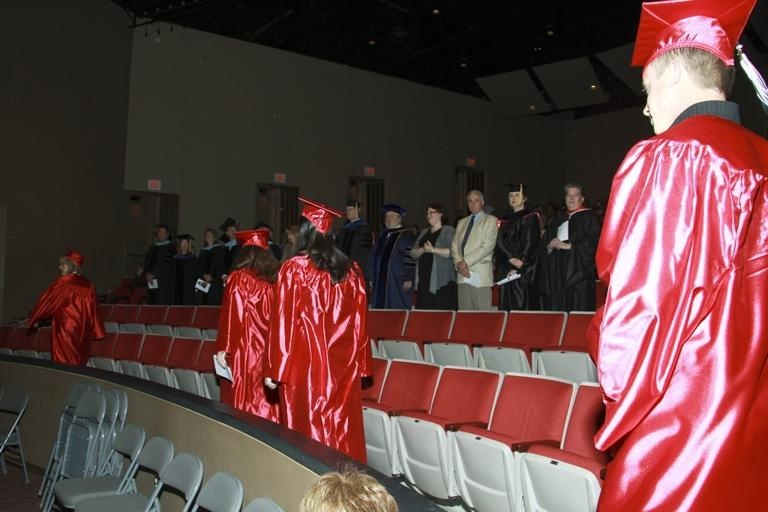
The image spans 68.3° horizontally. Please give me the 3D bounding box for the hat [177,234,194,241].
[{"bbox_3d":[-4.002,-0.388,11.325,0.234,0.076,0.230,1,3,-39],"label":"hat"}]

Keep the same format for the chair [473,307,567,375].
[{"bbox_3d":[1.265,0.780,5.316,0.634,0.785,0.536,14,-14,-43],"label":"chair"}]

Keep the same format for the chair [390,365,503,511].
[{"bbox_3d":[0.414,1.210,3.946,0.709,1.122,0.733,15,-13,-35],"label":"chair"}]

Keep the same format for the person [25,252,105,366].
[{"bbox_3d":[-3.905,0.685,7.053,0.790,1.461,0.409,2,-1,-33],"label":"person"}]

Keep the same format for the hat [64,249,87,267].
[{"bbox_3d":[-4.701,0.011,8.630,0.234,0.126,0.251,23,-13,23],"label":"hat"}]

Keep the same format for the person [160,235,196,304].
[{"bbox_3d":[-4.181,0.281,11.555,0.456,1.334,0.980,2,-1,-39],"label":"person"}]

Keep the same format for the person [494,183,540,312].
[{"bbox_3d":[1.620,-0.140,7.107,0.546,1.616,0.650,2,-1,-35],"label":"person"}]

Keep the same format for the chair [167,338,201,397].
[{"bbox_3d":[-2.017,1.144,5.760,0.340,0.515,0.344,-2,-7,17],"label":"chair"}]

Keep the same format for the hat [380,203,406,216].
[{"bbox_3d":[0.122,-0.714,8.508,0.305,0.122,0.358,2,-2,-1],"label":"hat"}]

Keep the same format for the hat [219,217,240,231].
[{"bbox_3d":[-3.219,-0.664,11.731,0.302,0.212,0.312,-37,-40,10],"label":"hat"}]

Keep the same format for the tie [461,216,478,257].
[{"bbox_3d":[1.040,-0.228,6.931,0.051,0.543,0.077,-1,-28,39],"label":"tie"}]

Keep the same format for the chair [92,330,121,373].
[{"bbox_3d":[-3.442,1.193,7.028,0.332,0.517,0.319,-3,-5,33],"label":"chair"}]

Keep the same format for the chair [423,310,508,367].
[{"bbox_3d":[0.787,0.818,5.694,0.514,0.783,0.599,-5,-12,44],"label":"chair"}]

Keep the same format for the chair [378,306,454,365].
[{"bbox_3d":[0.335,0.860,6.193,0.492,0.735,0.591,-5,-10,36],"label":"chair"}]

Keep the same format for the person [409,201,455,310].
[{"bbox_3d":[0.672,-0.008,7.548,0.573,1.441,1.012,2,-1,-8],"label":"person"}]

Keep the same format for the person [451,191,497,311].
[{"bbox_3d":[1.094,-0.078,6.976,0.559,1.484,0.574,1,-1,11],"label":"person"}]

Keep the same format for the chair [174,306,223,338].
[{"bbox_3d":[-2.553,0.919,7.825,0.426,0.471,0.342,0,-23,26],"label":"chair"}]

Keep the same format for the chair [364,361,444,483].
[{"bbox_3d":[0.118,1.198,4.261,0.651,0.866,0.642,7,-8,-39],"label":"chair"}]
